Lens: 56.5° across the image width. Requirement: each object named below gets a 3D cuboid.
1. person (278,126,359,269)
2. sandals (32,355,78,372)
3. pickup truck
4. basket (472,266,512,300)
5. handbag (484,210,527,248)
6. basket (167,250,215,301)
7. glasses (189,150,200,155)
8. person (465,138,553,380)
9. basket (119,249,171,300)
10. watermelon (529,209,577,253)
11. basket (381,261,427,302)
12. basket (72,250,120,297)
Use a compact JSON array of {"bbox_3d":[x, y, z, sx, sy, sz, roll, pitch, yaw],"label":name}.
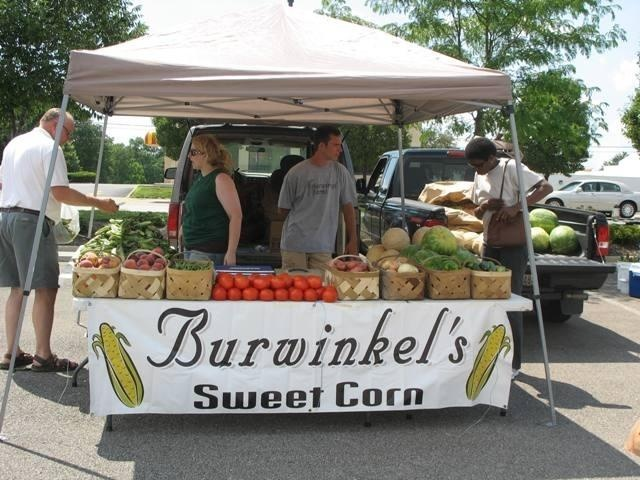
[{"bbox_3d":[-0.026,-0.364,6.504,0.576,1.830,0.667,0,1,-3],"label":"person"},{"bbox_3d":[-2.770,1.298,6.249,0.443,0.189,0.202,0,4,-16],"label":"sandals"},{"bbox_3d":[1.960,-0.339,9.317,2.420,2.110,5.324,0,10,-13],"label":"pickup truck"},{"bbox_3d":[1.509,0.358,5.209,0.258,0.203,0.291,1,1,-1],"label":"basket"},{"bbox_3d":[1.856,-0.104,5.934,0.335,0.354,0.137,0,8,3],"label":"handbag"},{"bbox_3d":[-1.090,0.336,4.979,0.388,0.311,0.213,0,9,-11],"label":"basket"},{"bbox_3d":[-1.229,-0.854,5.785,0.060,0.027,0.063,-6,-4,41],"label":"glasses"},{"bbox_3d":[1.801,0.095,6.075,0.816,2.461,0.681,0,1,-28],"label":"person"},{"bbox_3d":[-1.492,0.282,5.038,0.394,0.372,0.331,1,9,-6],"label":"basket"},{"bbox_3d":[3.079,-0.154,7.959,0.612,0.695,0.578,4,9,3],"label":"watermelon"},{"bbox_3d":[0.702,0.353,5.233,0.274,0.297,0.288,0,11,-11],"label":"basket"},{"bbox_3d":[-1.887,0.284,4.966,0.319,0.354,0.397,0,10,-44],"label":"basket"}]
